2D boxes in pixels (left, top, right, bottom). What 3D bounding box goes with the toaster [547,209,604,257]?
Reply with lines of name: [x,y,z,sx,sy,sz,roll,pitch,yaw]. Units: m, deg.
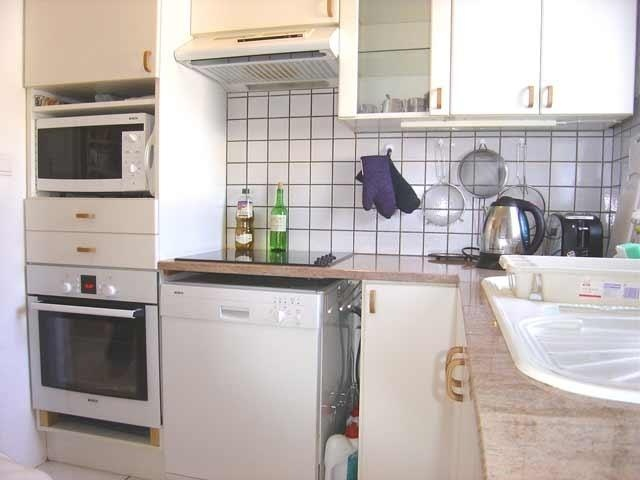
toaster: [1.147,-0.030,2.419,0.206,0.194,0.309,0,3,18]

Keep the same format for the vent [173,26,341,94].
vent: [-0.255,-0.856,2.567,0.737,0.176,0.495,0,3,9]

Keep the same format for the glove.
glove: [0.346,-0.269,2.619,0.309,0.313,0.083,-3,2,1]

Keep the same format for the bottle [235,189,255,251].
bottle: [-0.384,-0.076,2.724,0.087,0.261,0.119,-1,3,-12]

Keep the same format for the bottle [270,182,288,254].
bottle: [-0.217,-0.118,2.763,0.100,0.347,0.230,-1,3,-4]
